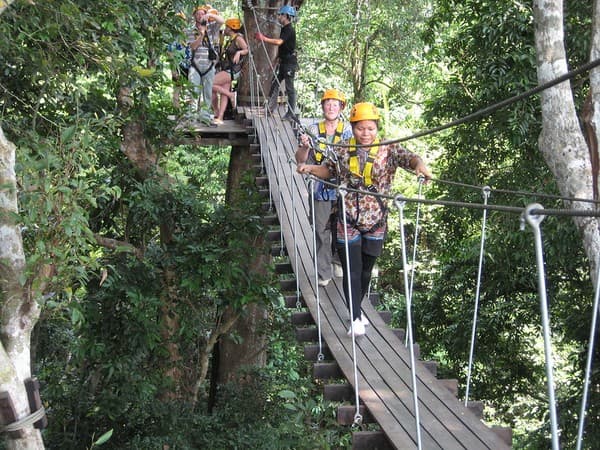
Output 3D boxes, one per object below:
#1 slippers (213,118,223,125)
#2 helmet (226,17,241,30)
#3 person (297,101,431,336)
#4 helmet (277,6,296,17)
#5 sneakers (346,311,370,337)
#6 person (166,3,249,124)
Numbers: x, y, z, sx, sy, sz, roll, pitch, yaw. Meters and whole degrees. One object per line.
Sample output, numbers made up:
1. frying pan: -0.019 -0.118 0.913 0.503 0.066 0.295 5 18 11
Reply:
1. slippers: -1.334 -1.666 10.898 0.078 0.111 0.264 -6 9 -15
2. helmet: -1.066 -3.220 10.907 0.226 0.177 0.116 16 -13 -30
3. person: 0.542 -0.034 6.116 0.723 2.102 1.304 9 -12 -25
4. helmet: -0.210 -3.045 9.643 0.187 0.274 0.130 -9 -46 -22
5. sneakers: 0.555 0.973 6.403 0.116 0.131 0.314 0 6 10
6. person: -1.369 -2.507 10.778 1.169 2.077 1.169 11 -13 -31
